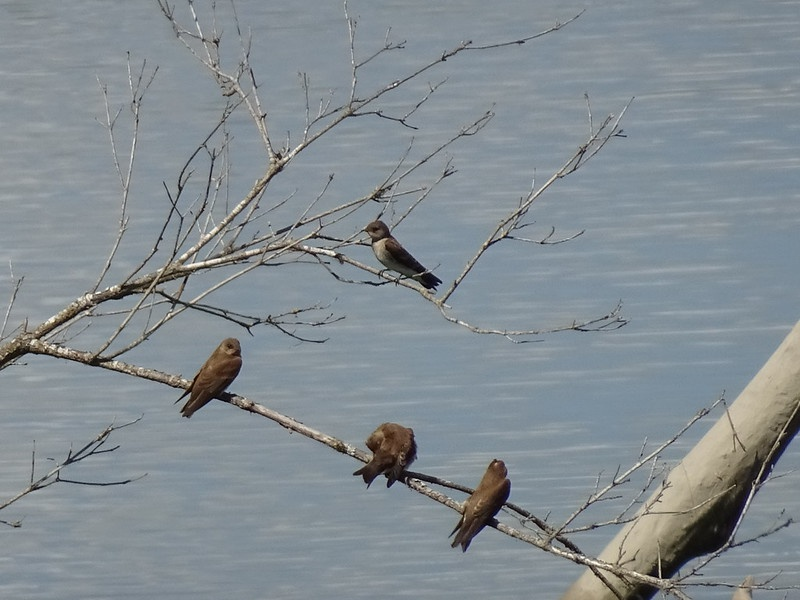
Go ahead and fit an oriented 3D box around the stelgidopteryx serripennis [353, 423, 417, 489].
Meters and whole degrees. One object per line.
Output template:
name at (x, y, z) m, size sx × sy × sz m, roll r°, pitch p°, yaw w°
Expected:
stelgidopteryx serripennis at (-0.184, 2.310, 27.299) m, size 0.788 × 0.798 × 1.075 m, roll -1°, pitch 20°, yaw 13°
